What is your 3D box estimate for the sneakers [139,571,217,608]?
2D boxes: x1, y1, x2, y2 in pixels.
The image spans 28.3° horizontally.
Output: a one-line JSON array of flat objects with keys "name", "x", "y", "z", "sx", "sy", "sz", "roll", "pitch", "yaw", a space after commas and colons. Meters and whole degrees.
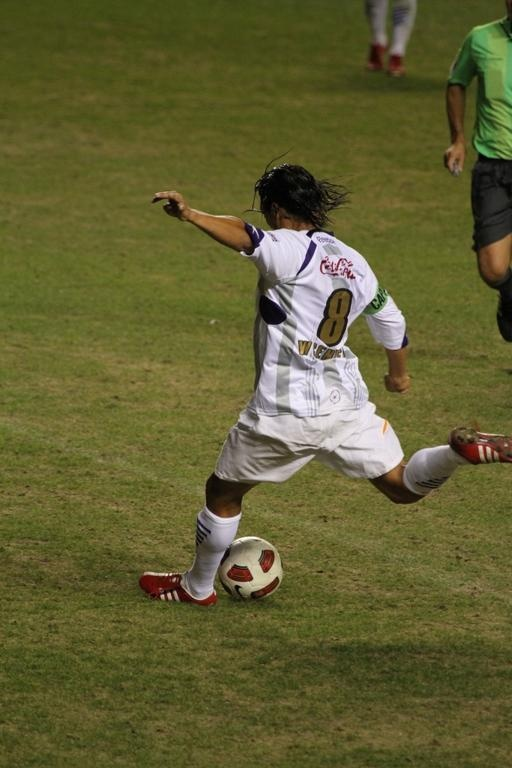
[{"name": "sneakers", "x": -0.285, "y": 0.788, "z": 3.925, "sx": 0.349, "sy": 0.094, "sz": 0.122, "roll": 7, "pitch": -14, "yaw": 7}]

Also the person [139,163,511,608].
[{"name": "person", "x": 0.094, "y": 0.193, "z": 3.609, "sx": 1.285, "sy": 1.631, "sz": 0.387, "roll": 16, "pitch": 24, "yaw": -7}]
